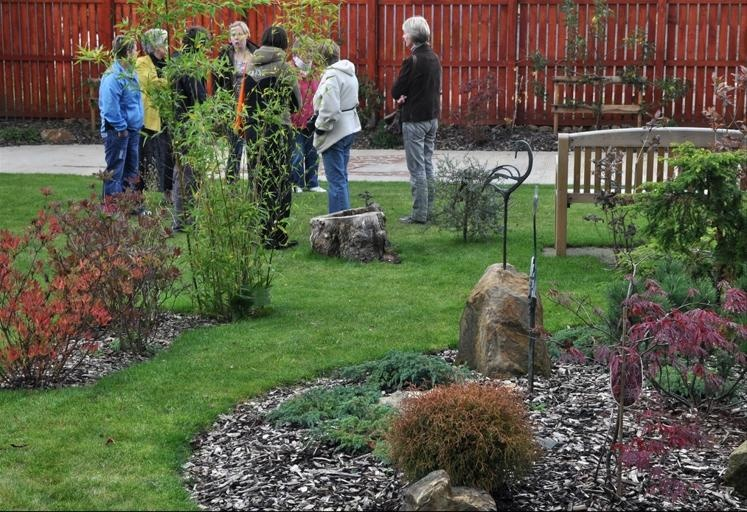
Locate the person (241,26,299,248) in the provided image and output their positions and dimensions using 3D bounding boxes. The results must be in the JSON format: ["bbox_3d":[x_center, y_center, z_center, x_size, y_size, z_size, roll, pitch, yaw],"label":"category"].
[{"bbox_3d":[-1.150,-1.653,13.768,0.583,2.462,0.690,-25,39,-36],"label":"person"}]

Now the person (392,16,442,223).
[{"bbox_3d":[0.658,-1.859,15.460,0.557,2.844,0.716,4,6,41],"label":"person"}]

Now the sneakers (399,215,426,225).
[{"bbox_3d":[0.560,-0.486,15.635,0.331,0.182,0.150,1,8,10],"label":"sneakers"}]

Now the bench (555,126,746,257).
[{"bbox_3d":[3.069,-0.780,13.593,1.605,1.598,2.065,-2,7,-14],"label":"bench"}]

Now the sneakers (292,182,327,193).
[{"bbox_3d":[-0.976,-1.080,17.165,0.526,0.265,0.182,-4,8,-6],"label":"sneakers"}]

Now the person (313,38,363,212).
[{"bbox_3d":[-0.473,-1.676,14.573,0.596,2.305,1.431,0,5,-2],"label":"person"}]
